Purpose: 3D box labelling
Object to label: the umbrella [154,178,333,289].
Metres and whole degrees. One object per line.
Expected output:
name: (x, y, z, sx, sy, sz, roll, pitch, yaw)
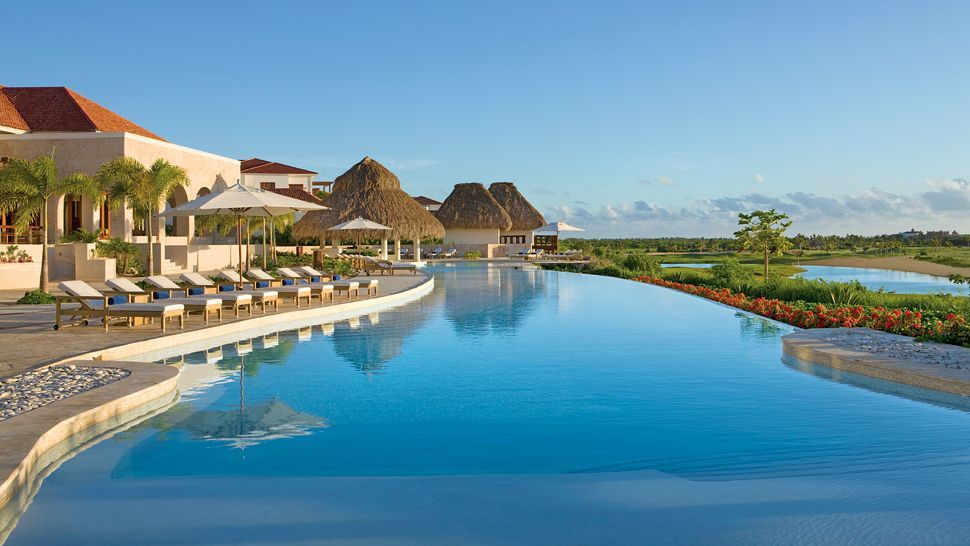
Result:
umbrella: (-7.111, -1.228, 18.120, 3.711, 2.253, 3.506, -3, 2, -19)
